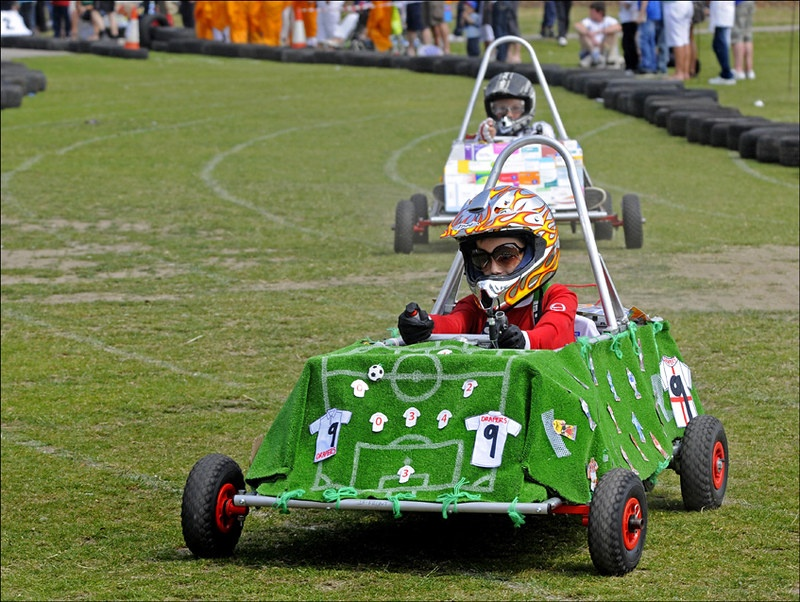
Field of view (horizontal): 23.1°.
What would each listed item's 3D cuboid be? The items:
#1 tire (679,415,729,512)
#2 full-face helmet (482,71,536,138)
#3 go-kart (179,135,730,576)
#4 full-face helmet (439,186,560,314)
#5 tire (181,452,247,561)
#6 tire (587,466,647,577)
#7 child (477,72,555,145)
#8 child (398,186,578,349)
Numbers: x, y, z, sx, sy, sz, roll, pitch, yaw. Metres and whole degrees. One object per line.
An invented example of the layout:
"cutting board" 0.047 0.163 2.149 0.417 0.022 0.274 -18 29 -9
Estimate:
"tire" 1.851 0.999 11.835 0.199 0.607 0.610 -1 11 22
"full-face helmet" 0.909 -1.609 15.918 0.411 0.520 0.485 -1 4 7
"go-kart" 0.447 0.285 11.281 3.071 2.358 1.388 -1 11 -3
"full-face helmet" 0.639 -0.309 11.681 0.597 0.733 0.769 -4 2 42
"tire" -1.061 1.197 11.101 0.190 0.449 0.403 5 51 15
"tire" 1.235 1.239 10.939 0.418 0.596 0.179 -8 13 -37
"child" 0.896 -1.595 15.861 0.694 0.570 0.643 3 4 43
"child" 0.647 -0.226 11.674 0.846 0.859 1.309 1 7 37
